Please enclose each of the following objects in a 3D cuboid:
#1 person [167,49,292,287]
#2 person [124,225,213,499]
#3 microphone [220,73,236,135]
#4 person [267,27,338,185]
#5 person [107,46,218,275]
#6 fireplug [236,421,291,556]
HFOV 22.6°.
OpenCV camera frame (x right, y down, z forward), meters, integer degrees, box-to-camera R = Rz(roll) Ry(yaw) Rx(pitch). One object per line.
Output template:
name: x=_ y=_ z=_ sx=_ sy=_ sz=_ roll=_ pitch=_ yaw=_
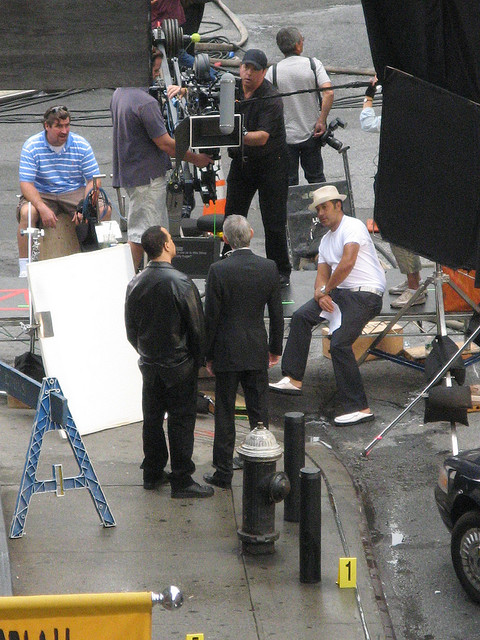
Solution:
person: x=-0.093 y=-1.184 z=9.673 sx=0.950 sy=1.887 sz=0.825 roll=1 pitch=20 yaw=3
person: x=-0.447 y=0.282 z=7.776 sx=0.704 sy=1.706 sz=0.316 roll=13 pitch=16 yaw=33
microphone: x=-0.079 y=-1.477 z=8.226 sx=0.125 sy=0.422 sz=0.124 roll=-7 pitch=11 yaw=-40
person: x=0.661 y=-2.062 z=12.709 sx=0.670 sy=2.088 sz=0.609 roll=2 pitch=29 yaw=11
person: x=-0.607 y=-1.238 z=9.516 sx=0.874 sy=2.223 sz=0.794 roll=-17 pitch=47 yaw=-18
fireplug: x=0.111 y=0.993 z=7.081 sx=0.281 sy=0.799 sz=0.306 roll=-2 pitch=8 yaw=-18
